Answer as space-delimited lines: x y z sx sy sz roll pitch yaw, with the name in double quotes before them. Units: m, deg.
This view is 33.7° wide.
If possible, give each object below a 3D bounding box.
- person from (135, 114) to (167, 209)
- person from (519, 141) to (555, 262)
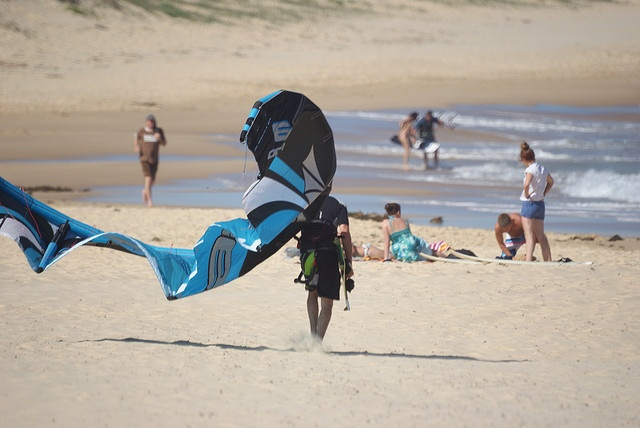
"person" -5.289 -1.649 32.978 0.942 2.995 1.277 -3 19 -9
"person" 5.821 -0.254 28.631 1.036 3.389 1.472 4 19 10
